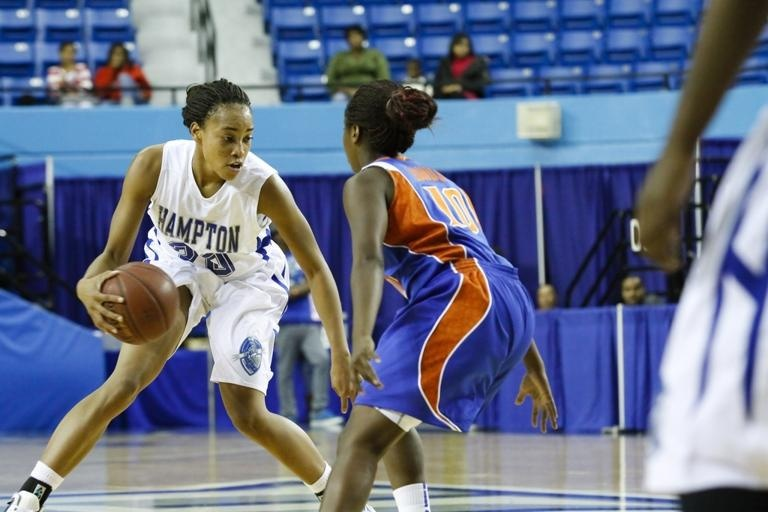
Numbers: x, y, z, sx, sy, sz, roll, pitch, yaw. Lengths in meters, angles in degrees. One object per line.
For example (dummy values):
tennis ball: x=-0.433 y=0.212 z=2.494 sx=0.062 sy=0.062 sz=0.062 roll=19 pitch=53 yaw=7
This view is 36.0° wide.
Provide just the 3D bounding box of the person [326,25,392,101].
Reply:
person: x=-0.279 y=-1.904 z=11.906 sx=0.566 sy=0.869 sz=0.517 roll=-3 pitch=-6 yaw=7

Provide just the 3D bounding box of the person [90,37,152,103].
person: x=-2.674 y=-1.805 z=11.863 sx=0.445 sy=0.814 sz=0.593 roll=0 pitch=-1 yaw=3

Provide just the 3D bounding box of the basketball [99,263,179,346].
basketball: x=-1.190 y=0.243 z=6.048 sx=0.353 sy=0.465 sz=0.374 roll=3 pitch=-1 yaw=-2

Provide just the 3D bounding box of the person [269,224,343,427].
person: x=-0.679 y=0.612 z=10.182 sx=0.701 sy=1.722 sz=0.563 roll=4 pitch=-4 yaw=-22
